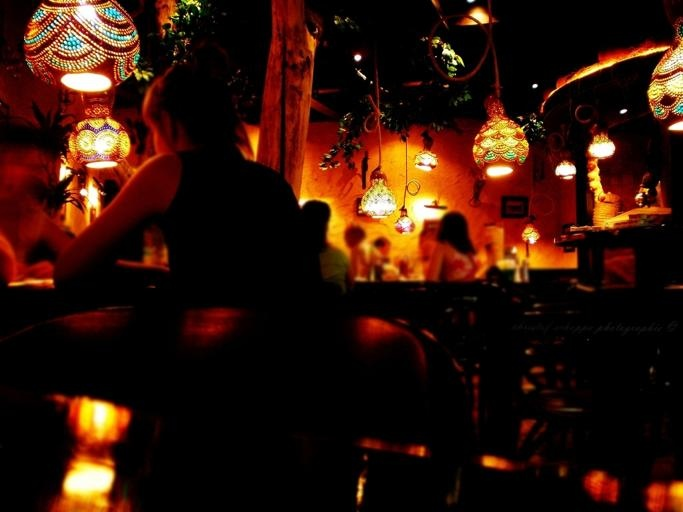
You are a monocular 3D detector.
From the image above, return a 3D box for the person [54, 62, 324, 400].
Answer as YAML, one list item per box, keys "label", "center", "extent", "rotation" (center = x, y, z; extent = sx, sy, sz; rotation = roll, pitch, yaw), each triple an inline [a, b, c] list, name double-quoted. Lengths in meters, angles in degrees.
- label: "person"
  center: [-0.462, -0.135, 1.955]
  extent: [0.680, 0.864, 0.576]
  rotation: [0, -10, -29]

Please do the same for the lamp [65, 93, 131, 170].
- label: "lamp"
  center: [-2.064, -1.096, 5.353]
  extent: [0.447, 0.646, 0.471]
  rotation: [0, 3, 33]
